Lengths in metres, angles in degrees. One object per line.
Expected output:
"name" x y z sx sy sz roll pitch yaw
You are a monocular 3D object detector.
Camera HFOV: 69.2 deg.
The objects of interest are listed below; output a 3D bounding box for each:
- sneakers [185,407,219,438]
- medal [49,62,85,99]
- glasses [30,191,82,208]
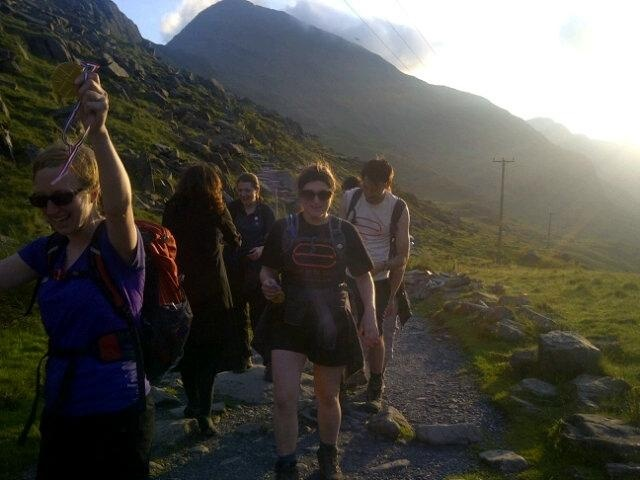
"sneakers" -1.574 2.269 5.973 0.554 0.266 0.211 23 28 34
"medal" -1.739 -1.110 3.189 0.192 0.265 0.211 -1 8 -31
"glasses" -1.953 -0.305 3.393 0.367 0.152 0.123 4 7 6
